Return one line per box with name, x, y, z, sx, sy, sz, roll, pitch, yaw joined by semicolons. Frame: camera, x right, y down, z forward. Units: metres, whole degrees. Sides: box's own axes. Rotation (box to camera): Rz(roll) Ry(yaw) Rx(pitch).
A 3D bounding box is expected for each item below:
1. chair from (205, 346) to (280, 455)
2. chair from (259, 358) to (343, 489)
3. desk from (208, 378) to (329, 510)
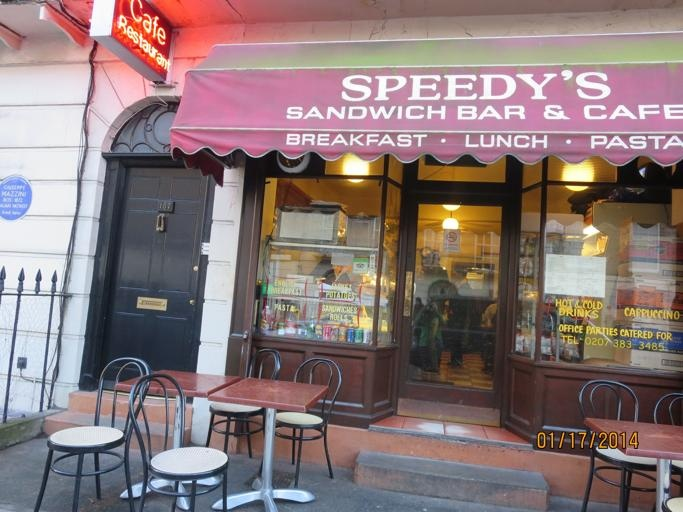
chair;-1.010;1.517;6.355;0.567;1.160;0.647;4;-8;42
chair;-0.408;1.690;6.175;0.582;1.261;0.629;5;-3;31
desk;-0.733;1.772;5.766;1.076;1.075;1.104;2;1;7
